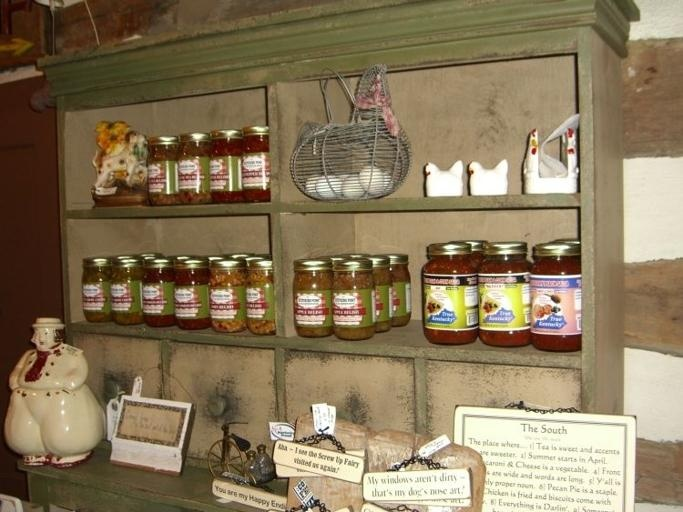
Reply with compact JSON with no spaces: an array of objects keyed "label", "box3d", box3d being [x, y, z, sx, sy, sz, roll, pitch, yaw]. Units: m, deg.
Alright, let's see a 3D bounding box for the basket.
[{"label":"basket","box3d":[0.014,-0.373,2.278,0.425,0.411,0.236,2,13,20]}]
